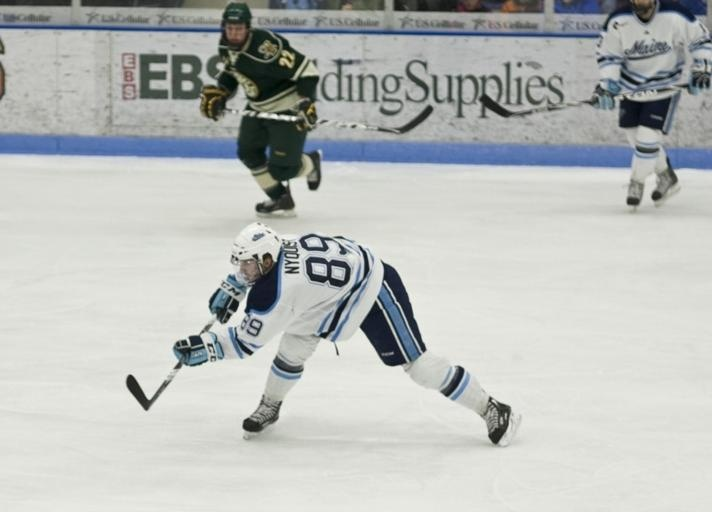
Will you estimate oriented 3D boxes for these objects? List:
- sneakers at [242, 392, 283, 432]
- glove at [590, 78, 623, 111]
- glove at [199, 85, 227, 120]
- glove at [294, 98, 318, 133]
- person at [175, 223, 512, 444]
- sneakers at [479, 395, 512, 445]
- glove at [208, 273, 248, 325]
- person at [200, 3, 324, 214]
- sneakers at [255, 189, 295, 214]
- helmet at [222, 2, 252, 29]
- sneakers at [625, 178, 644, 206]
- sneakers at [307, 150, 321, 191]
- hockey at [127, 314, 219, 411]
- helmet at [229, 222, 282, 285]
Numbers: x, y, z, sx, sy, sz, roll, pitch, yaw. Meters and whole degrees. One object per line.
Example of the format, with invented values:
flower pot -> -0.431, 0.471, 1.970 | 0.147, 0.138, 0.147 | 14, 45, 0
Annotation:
sneakers -> -0.477, 0.726, 4.961 | 0.091, 0.155, 0.267 | 33, 15, 19
glove -> 2.058, -1.299, 8.488 | 0.216, 0.243, 0.259 | -11, 0, -15
glove -> -1.107, -1.187, 8.178 | 0.223, 0.240, 0.268 | -2, -3, 4
glove -> -0.367, -1.049, 8.038 | 0.117, 0.169, 0.244 | -9, -20, 21
person -> -0.103, 0.277, 4.937 | 1.881, 1.101, 0.777 | 1, 19, -1
sneakers -> 0.655, 0.757, 4.820 | 0.114, 0.079, 0.236 | 15, 19, 5
glove -> -0.623, 0.200, 5.073 | 0.108, 0.200, 0.245 | 37, 66, 13
person -> -0.761, -1.147, 8.263 | 0.908, 1.614, 0.728 | 2, 14, -2
sneakers -> -0.623, -0.410, 8.240 | 0.384, 0.222, 0.139 | 2, 5, 5
helmet -> -0.899, -1.808, 7.859 | 0.209, 0.177, 0.250 | 1, 13, -8
sneakers -> 2.226, -0.500, 8.352 | 0.096, 0.134, 0.289 | -1, 25, 21
sneakers -> -0.360, -0.722, 8.866 | 0.121, 0.319, 0.139 | 7, 20, 32
hockey -> -0.933, 0.554, 5.304 | 0.098, 0.109, 0.652 | 27, 44, 11
helmet -> -0.453, 0.003, 4.798 | 0.230, 0.299, 0.146 | 1, 14, -5
